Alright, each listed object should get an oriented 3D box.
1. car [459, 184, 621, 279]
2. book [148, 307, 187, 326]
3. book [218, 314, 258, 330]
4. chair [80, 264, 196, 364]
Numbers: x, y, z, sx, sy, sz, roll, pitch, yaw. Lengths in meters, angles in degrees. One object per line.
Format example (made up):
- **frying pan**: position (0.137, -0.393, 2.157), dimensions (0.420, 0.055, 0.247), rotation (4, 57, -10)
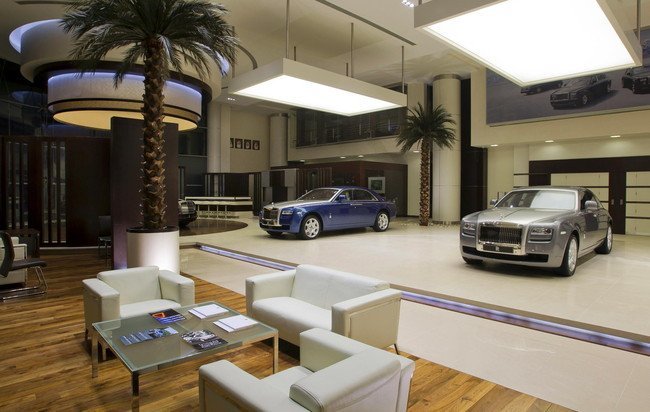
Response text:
- **car**: position (5.157, 0.456, 8.931), dimensions (1.659, 1.189, 3.746), rotation (-3, -5, 43)
- **book**: position (-2.114, 1.502, 5.274), dimensions (0.220, 0.218, 0.208), rotation (2, 4, -44)
- **book**: position (-1.120, 1.514, 5.047), dimensions (0.215, 0.043, 0.212), rotation (-7, 11, -44)
- **chair**: position (-2.808, 1.511, 5.882), dimensions (1.003, 0.991, 1.355), rotation (6, 5, 37)
